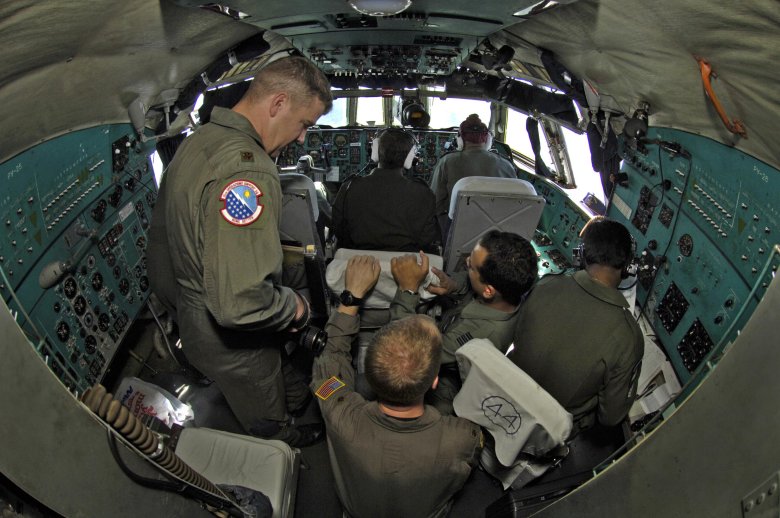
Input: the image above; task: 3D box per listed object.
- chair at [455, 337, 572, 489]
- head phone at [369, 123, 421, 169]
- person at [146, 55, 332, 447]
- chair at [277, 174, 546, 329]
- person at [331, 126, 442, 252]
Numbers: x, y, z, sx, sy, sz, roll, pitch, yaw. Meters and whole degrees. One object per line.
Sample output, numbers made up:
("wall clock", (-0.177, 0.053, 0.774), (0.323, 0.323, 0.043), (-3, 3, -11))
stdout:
("chair", (0.644, 0.866, 2.961), (0.479, 0.668, 0.680), (-18, 45, -23))
("head phone", (0.054, -0.980, 4.768), (0.478, 0.249, 0.570), (7, 7, 1))
("person", (-0.762, 0.179, 3.172), (1.033, 2.558, 0.872), (-9, 25, -22))
("chair", (0.532, -0.166, 4.471), (1.590, 1.058, 0.801), (2, 40, 1))
("person", (-0.034, -0.565, 4.693), (0.897, 1.194, 0.801), (8, 24, 7))
